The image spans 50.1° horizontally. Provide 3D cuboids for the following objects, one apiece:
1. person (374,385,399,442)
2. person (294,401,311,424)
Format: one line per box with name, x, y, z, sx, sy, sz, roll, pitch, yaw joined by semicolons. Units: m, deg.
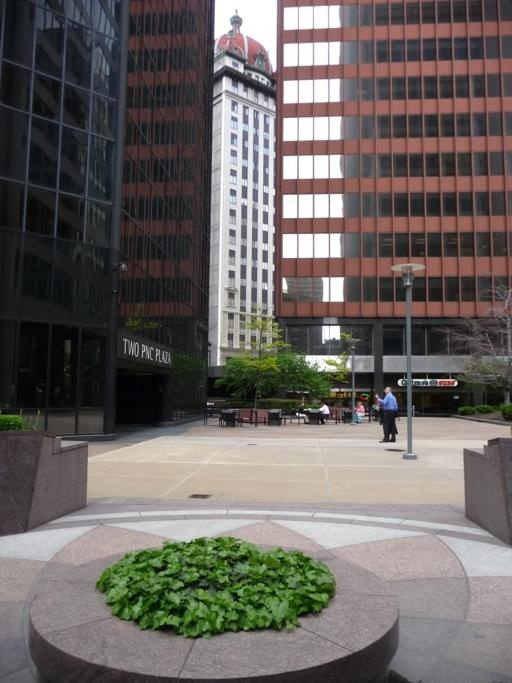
person;4.440;2.451;18.562;0.576;1.872;0.536;3;-7;-19
person;3.036;4.681;35.275;0.988;1.515;0.850;-2;0;3
